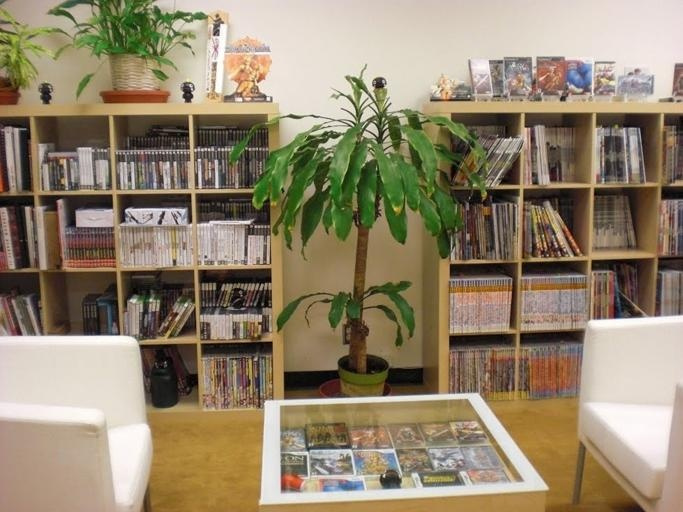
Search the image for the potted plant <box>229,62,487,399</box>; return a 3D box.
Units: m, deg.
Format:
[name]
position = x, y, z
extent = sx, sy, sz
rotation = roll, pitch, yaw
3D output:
[potted plant]
position = 0.127, -0.210, 3.191
extent = 1.360, 1.895, 1.050
rotation = -4, 7, -9
